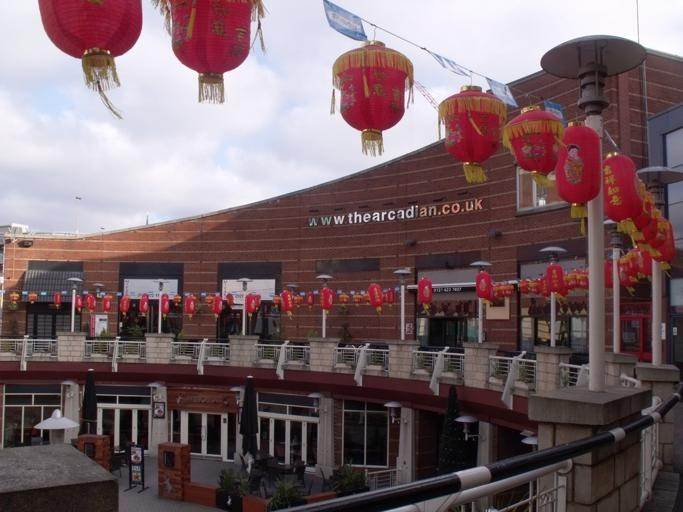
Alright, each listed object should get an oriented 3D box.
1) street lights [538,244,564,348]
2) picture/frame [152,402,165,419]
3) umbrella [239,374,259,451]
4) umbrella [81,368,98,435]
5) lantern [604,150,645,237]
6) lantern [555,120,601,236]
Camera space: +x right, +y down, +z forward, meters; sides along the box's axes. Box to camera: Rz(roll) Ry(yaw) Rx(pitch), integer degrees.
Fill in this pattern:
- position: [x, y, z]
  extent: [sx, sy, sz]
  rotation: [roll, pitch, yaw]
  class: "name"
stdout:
- position: [6.815, 1.331, 27.851]
  extent: [0.572, 3.530, 0.864]
  rotation: [0, -3, 24]
  class: "street lights"
- position: [-6.623, 5.633, 31.402]
  extent: [0.609, 0.766, 0.081]
  rotation: [0, -3, 5]
  class: "picture/frame"
- position: [-2.707, 4.748, 25.394]
  extent: [0.510, 2.331, 0.721]
  rotation: [1, -7, -6]
  class: "umbrella"
- position: [-8.194, 4.773, 28.004]
  extent: [0.483, 2.047, 1.048]
  rotation: [2, -7, -17]
  class: "umbrella"
- position: [4.499, -0.984, 13.701]
  extent: [0.523, 1.319, 0.625]
  rotation: [2, -3, 21]
  class: "lantern"
- position: [3.374, -1.339, 12.236]
  extent: [0.613, 1.142, 0.276]
  rotation: [-2, -7, 13]
  class: "lantern"
